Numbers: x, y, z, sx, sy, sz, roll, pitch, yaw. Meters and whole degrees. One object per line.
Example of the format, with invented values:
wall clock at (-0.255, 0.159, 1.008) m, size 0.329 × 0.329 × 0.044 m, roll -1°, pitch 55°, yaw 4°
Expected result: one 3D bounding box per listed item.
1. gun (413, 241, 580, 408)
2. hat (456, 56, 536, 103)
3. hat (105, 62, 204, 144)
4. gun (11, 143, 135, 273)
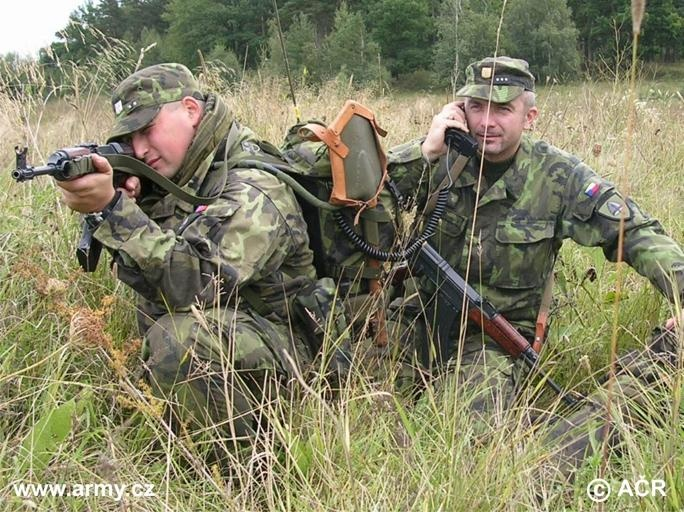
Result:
gun at (0.990, 0.466, 4.515) m, size 1.162 × 0.483 × 0.120 m, roll 50°, pitch 30°, yaw 8°
hat at (1.085, -1.147, 4.693) m, size 0.345 × 0.220 × 0.494 m, roll 9°, pitch 14°, yaw 32°
hat at (-1.169, -0.971, 4.244) m, size 0.540 × 0.288 × 0.375 m, roll -32°, pitch 12°, yaw -23°
gun at (-1.435, -0.362, 3.787) m, size 0.101 × 0.555 × 0.953 m, roll 7°, pitch 15°, yaw 18°
